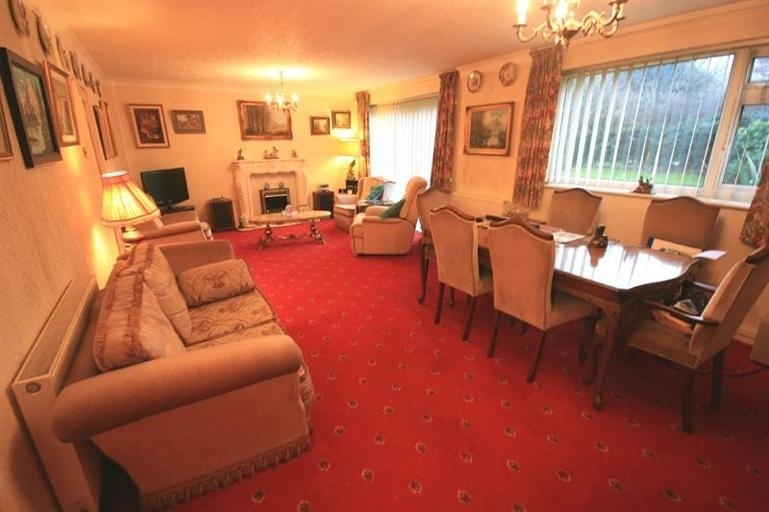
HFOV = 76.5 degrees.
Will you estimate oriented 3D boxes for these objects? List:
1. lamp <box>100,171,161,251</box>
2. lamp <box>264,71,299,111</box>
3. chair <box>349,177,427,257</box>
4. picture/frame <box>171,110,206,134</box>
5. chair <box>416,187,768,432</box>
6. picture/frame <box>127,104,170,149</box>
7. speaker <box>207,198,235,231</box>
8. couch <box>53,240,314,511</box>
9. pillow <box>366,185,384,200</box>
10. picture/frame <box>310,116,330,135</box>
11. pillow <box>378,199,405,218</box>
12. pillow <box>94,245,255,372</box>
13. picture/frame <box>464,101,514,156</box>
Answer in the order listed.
[{"bbox_3d":[-2.414,-0.511,4.576,0.450,0.519,0.310,-7,20,-12],"label":"lamp"},{"bbox_3d":[-1.699,-2.692,7.949,0.578,0.758,0.491,-12,28,-30],"label":"lamp"},{"bbox_3d":[0.060,-0.669,7.163,1.091,1.108,1.070,0,16,0],"label":"chair"},{"bbox_3d":[-3.323,-2.259,8.185,0.400,0.344,0.040,-9,18,-39],"label":"picture/frame"},{"bbox_3d":[1.949,0.548,4.438,0.696,0.989,1.908,-9,17,-28],"label":"chair"},{"bbox_3d":[-3.847,-2.111,7.886,0.543,0.754,0.046,-25,33,-34],"label":"picture/frame"},{"bbox_3d":[-2.924,-0.729,8.681,0.463,0.572,0.331,-9,20,-17],"label":"speaker"},{"bbox_3d":[-1.556,0.950,3.654,0.942,0.847,1.710,-6,23,-26],"label":"couch"},{"bbox_3d":[-0.139,-1.064,8.267,0.092,0.258,0.253,21,19,-41],"label":"pillow"},{"bbox_3d":[-1.285,-2.561,9.539,0.353,0.304,0.028,-16,32,-36],"label":"picture/frame"},{"bbox_3d":[0.116,-0.662,6.861,0.350,0.243,0.196,-3,19,-1],"label":"pillow"},{"bbox_3d":[-1.697,0.402,3.744,0.813,0.623,1.208,-5,31,-23],"label":"pillow"},{"bbox_3d":[1.467,-1.772,6.746,0.059,0.648,0.743,-12,20,-31],"label":"picture/frame"}]
